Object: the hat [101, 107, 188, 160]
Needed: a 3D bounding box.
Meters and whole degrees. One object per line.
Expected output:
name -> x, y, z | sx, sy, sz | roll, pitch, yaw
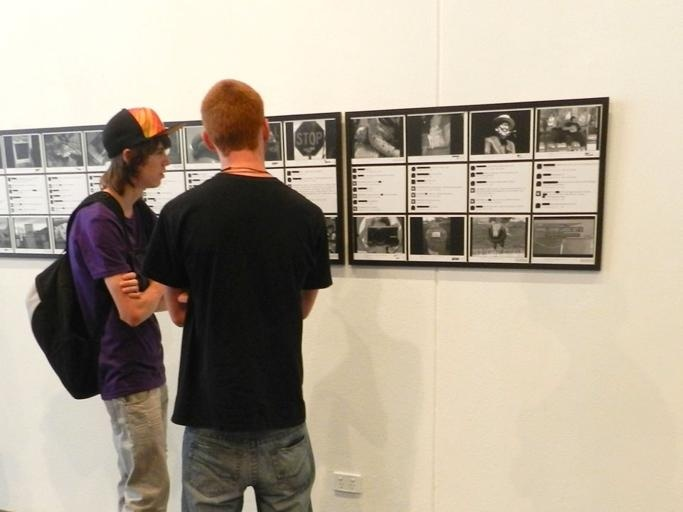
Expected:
hat -> -0.864, -0.544, 2.940 | 0.292, 0.157, 0.185 | -29, 17, -7
